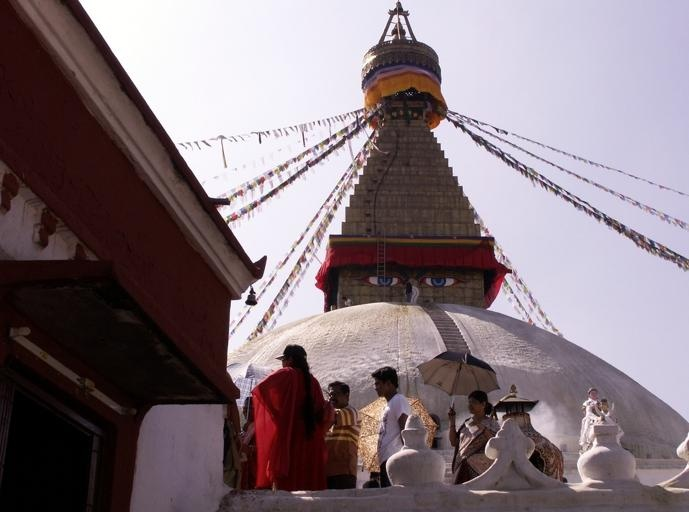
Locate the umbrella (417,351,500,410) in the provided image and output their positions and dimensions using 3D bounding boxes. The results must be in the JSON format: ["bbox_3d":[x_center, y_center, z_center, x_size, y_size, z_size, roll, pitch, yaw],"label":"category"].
[{"bbox_3d":[1.604,1.845,8.545,1.036,0.554,1.134,7,-48,19],"label":"umbrella"}]

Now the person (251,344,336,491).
[{"bbox_3d":[-0.440,1.368,4.937,0.658,1.262,0.611,2,-36,-6],"label":"person"}]
